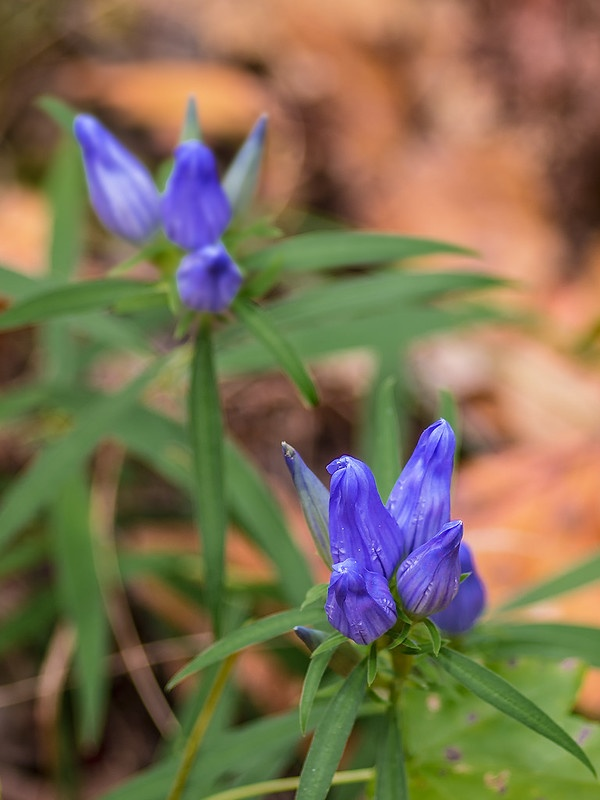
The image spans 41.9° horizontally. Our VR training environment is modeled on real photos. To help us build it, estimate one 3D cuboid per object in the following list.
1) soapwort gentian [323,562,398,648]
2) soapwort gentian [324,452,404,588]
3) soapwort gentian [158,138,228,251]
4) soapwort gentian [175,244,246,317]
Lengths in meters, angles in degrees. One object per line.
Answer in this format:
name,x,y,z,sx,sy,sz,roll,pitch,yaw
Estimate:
soapwort gentian,0.055,0.188,0.748,0.064,0.087,0.047,-8,30,13
soapwort gentian,0.060,0.126,0.769,0.077,0.133,0.059,-6,18,3
soapwort gentian,-0.110,-0.218,0.849,0.078,0.105,0.089,-3,4,-9
soapwort gentian,-0.096,-0.134,0.864,0.060,0.070,0.062,0,4,31
